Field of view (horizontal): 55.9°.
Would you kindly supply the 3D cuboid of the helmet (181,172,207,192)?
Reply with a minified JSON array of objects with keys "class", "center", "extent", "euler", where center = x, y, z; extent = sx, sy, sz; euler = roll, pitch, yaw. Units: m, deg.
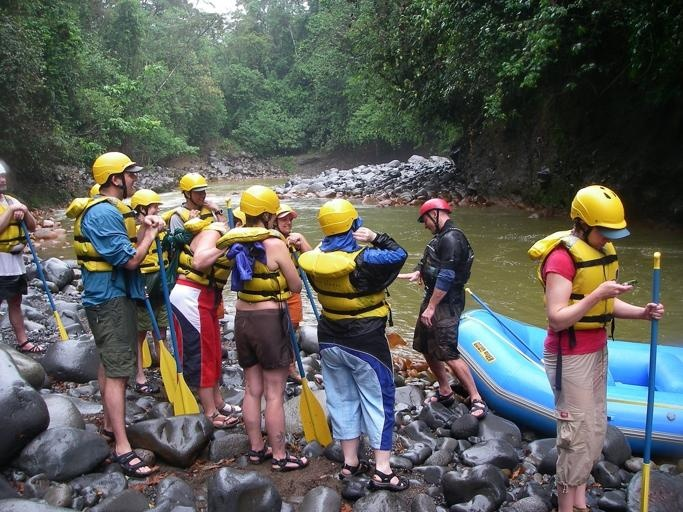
[{"class":"helmet","center":[-1.694,-0.851,7.366],"extent":[0.258,0.204,0.208],"euler":[13,16,29]}]

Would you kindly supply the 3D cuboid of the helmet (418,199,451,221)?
[{"class":"helmet","center":[1.099,-0.575,7.538],"extent":[0.361,0.195,0.273],"euler":[-2,-11,1]}]

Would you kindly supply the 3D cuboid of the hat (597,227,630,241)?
[{"class":"hat","center":[2.366,-0.182,5.514],"extent":[0.201,0.127,0.231],"euler":[10,17,39]}]

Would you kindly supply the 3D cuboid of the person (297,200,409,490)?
[{"class":"person","center":[0.137,0.835,6.116],"extent":[1.011,2.661,0.746],"euler":[4,14,20]}]

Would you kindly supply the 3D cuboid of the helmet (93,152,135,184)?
[{"class":"helmet","center":[-2.252,-0.881,6.434],"extent":[0.413,0.233,0.279],"euler":[-7,10,-13]}]

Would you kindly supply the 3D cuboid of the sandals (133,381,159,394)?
[{"class":"sandals","center":[-2.370,1.589,7.781],"extent":[0.251,0.112,0.132],"euler":[-1,-1,-10]}]

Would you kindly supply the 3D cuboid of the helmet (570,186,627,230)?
[{"class":"helmet","center":[2.270,-0.451,5.551],"extent":[0.329,0.264,0.465],"euler":[-10,25,-42]}]

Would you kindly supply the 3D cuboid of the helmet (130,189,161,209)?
[{"class":"helmet","center":[-2.524,-0.753,8.264],"extent":[0.312,0.205,0.243],"euler":[9,-1,3]}]

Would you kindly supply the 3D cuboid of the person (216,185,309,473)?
[{"class":"person","center":[-0.719,0.703,6.294],"extent":[0.627,2.700,0.860],"euler":[-11,16,-36]}]

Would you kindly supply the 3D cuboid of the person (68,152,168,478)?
[{"class":"person","center":[-2.169,0.533,6.281],"extent":[0.752,2.995,1.066],"euler":[-6,14,-23]}]

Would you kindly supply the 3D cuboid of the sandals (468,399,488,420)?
[{"class":"sandals","center":[1.567,1.772,7.267],"extent":[0.191,0.158,0.377],"euler":[2,13,14]}]

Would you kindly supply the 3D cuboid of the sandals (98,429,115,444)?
[{"class":"sandals","center":[-2.393,1.840,6.548],"extent":[0.086,0.103,0.234],"euler":[2,4,-42]}]

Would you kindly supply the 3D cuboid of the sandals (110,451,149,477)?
[{"class":"sandals","center":[-2.011,1.999,6.133],"extent":[0.396,0.163,0.169],"euler":[5,6,26]}]

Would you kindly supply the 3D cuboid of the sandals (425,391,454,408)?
[{"class":"sandals","center":[1.199,1.711,7.641],"extent":[0.372,0.164,0.147],"euler":[2,-6,9]}]

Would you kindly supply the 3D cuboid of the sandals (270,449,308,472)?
[{"class":"sandals","center":[-0.509,2.022,6.338],"extent":[0.313,0.154,0.165],"euler":[-2,-5,-14]}]

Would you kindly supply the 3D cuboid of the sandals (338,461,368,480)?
[{"class":"sandals","center":[0.118,2.068,6.218],"extent":[0.300,0.120,0.118],"euler":[-6,6,-45]}]

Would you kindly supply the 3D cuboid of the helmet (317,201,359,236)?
[{"class":"helmet","center":[-0.043,-0.367,6.085],"extent":[0.288,0.292,0.372],"euler":[-15,1,27]}]

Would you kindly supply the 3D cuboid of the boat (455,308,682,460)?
[{"class":"boat","center":[2.641,1.433,7.415],"extent":[1.991,0.830,1.409],"euler":[9,2,32]}]

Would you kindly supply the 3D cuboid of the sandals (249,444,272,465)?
[{"class":"sandals","center":[-0.801,1.993,6.412],"extent":[0.119,0.107,0.249],"euler":[2,4,30]}]

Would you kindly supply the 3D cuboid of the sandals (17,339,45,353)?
[{"class":"sandals","center":[-3.983,1.162,8.230],"extent":[0.303,0.123,0.153],"euler":[0,1,-9]}]

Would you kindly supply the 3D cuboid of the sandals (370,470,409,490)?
[{"class":"sandals","center":[0.452,2.106,6.045],"extent":[0.323,0.140,0.181],"euler":[3,-6,-18]}]

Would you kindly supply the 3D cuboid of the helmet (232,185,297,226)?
[{"class":"helmet","center":[-0.722,-0.505,6.379],"extent":[0.491,0.251,0.364],"euler":[-8,15,-37]}]
